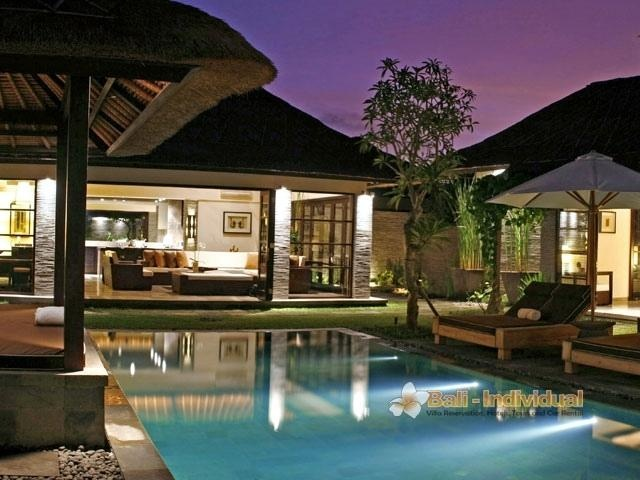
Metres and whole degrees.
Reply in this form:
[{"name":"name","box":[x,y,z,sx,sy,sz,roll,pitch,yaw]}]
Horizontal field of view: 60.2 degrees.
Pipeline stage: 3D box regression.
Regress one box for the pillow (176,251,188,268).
[{"name":"pillow","box":[-4.464,0.644,17.789,0.161,0.311,0.456,-3,13,3]}]

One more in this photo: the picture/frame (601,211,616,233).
[{"name":"picture/frame","box":[7.457,-0.464,14.346,0.582,0.590,0.059,-1,0,-33]}]

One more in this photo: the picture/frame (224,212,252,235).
[{"name":"picture/frame","box":[-3.037,-0.615,20.037,0.861,0.613,0.055,1,-3,-29]}]

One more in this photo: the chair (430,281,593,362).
[{"name":"chair","box":[3.026,1.204,8.643,1.903,1.045,1.313,1,-1,-16]}]

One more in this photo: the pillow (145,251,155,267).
[{"name":"pillow","box":[-5.512,0.607,17.848,0.462,0.434,0.181,3,-13,-23]}]

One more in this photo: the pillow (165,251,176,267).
[{"name":"pillow","box":[-4.832,0.623,17.788,0.226,0.488,0.407,-11,-1,42]}]
